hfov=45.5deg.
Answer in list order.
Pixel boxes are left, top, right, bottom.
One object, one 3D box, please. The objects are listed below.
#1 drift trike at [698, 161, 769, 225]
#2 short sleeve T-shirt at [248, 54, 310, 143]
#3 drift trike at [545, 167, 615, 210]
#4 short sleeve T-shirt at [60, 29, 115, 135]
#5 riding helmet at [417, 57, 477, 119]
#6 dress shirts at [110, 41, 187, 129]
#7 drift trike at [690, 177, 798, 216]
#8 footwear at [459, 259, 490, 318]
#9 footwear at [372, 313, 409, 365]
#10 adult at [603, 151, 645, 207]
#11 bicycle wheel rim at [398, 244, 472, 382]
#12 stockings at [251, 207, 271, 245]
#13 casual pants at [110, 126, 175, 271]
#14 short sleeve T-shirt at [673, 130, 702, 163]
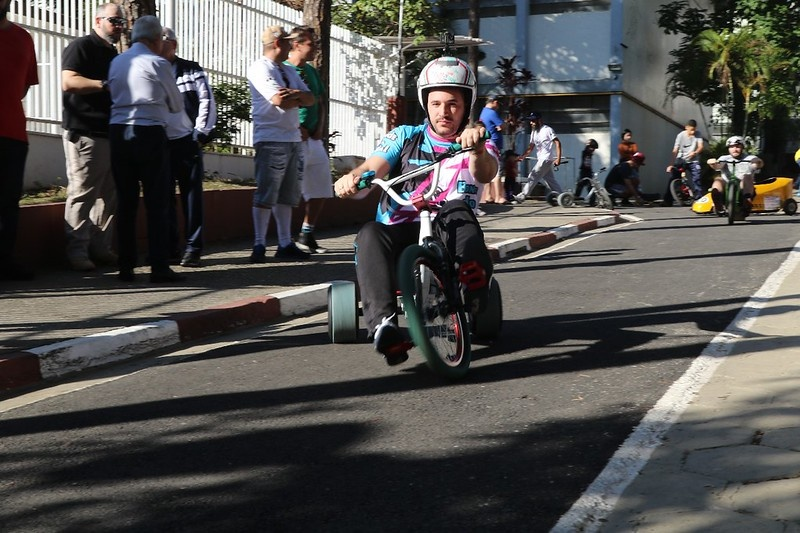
[{"bbox_3d":[6.373,-1.445,18.389,1.213,1.002,2.128,-2,1,3],"label":"drift trike"},{"bbox_3d":[-1.435,-1.962,11.309,0.629,1.016,0.475,-2,16,-19],"label":"short sleeve T-shirt"},{"bbox_3d":[4.178,-1.678,21.666,1.471,0.590,0.774,-4,4,-30],"label":"drift trike"},{"bbox_3d":[-3.263,-1.911,10.010,0.548,1.088,0.377,0,16,-14],"label":"short sleeve T-shirt"},{"bbox_3d":[0.347,-1.297,7.255,0.471,0.346,0.451,1,-9,-10],"label":"riding helmet"},{"bbox_3d":[-2.543,-1.808,9.468,0.709,0.797,0.478,1,15,-9],"label":"dress shirts"},{"bbox_3d":[7.288,-1.475,19.723,2.474,0.557,0.780,-1,1,-17],"label":"drift trike"},{"bbox_3d":[0.573,0.151,7.134,0.288,0.345,0.107,8,20,20],"label":"footwear"},{"bbox_3d":[-0.054,0.534,6.788,0.208,0.411,0.204,-30,44,-12],"label":"footwear"},{"bbox_3d":[5.699,-2.160,23.665,1.228,1.171,0.632,11,17,10],"label":"adult"},{"bbox_3d":[0.245,0.340,6.823,0.463,0.970,0.691,9,16,19],"label":"bicycle wheel rim"},{"bbox_3d":[-1.681,-0.436,11.384,0.271,0.522,0.218,3,-3,-4],"label":"stockings"},{"bbox_3d":[-2.583,-0.653,9.480,0.574,1.500,0.366,0,16,-13],"label":"casual pants"},{"bbox_3d":[7.159,-2.965,23.585,0.628,0.749,0.513,7,15,13],"label":"short sleeve T-shirt"}]
